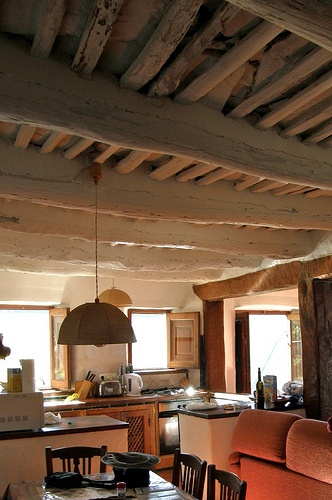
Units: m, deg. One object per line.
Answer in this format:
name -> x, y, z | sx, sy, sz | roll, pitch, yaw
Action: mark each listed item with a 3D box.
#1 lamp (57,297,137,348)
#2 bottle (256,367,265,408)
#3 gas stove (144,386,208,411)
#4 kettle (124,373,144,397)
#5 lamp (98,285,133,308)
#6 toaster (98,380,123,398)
lamp -> -0.442, 0.437, 2.499 | 0.504, 0.276, 0.497 | 1, -7, -8
bottle -> 1.055, 1.566, 4.451 | 0.087, 0.402, 0.389 | -3, -9, 12
gas stove -> 0.128, 2.370, 6.245 | 0.633, 0.240, 1.158 | -9, -12, 39
kettle -> -0.505, 2.090, 6.080 | 0.253, 0.308, 0.326 | 5, -16, -16
lamp -> -0.618, 0.589, 4.882 | 0.285, 0.185, 0.285 | -6, -10, 22
toaster -> -0.831, 2.103, 5.978 | 0.367, 0.246, 0.231 | 4, -13, -24
